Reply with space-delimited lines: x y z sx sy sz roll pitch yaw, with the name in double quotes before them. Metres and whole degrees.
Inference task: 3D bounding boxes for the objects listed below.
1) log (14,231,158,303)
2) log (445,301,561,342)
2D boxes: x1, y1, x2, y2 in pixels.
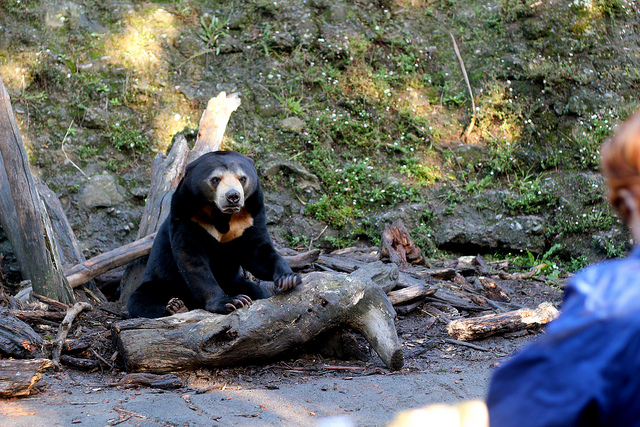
"log" -3.253 0.789 11.138 1.960 0.263 0.334 -28 24 -23
"log" 2.499 1.477 10.426 1.497 0.524 0.293 2 8 -10
